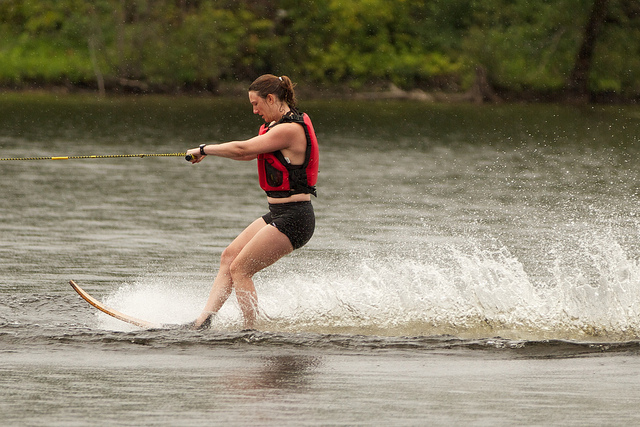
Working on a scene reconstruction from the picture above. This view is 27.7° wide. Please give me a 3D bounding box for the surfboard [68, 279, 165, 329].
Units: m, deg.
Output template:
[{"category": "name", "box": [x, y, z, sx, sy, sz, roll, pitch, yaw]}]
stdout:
[{"category": "surfboard", "box": [-4.247, 1.886, 26.964, 2.052, 0.194, 0.285, 21, 19, 18]}]
